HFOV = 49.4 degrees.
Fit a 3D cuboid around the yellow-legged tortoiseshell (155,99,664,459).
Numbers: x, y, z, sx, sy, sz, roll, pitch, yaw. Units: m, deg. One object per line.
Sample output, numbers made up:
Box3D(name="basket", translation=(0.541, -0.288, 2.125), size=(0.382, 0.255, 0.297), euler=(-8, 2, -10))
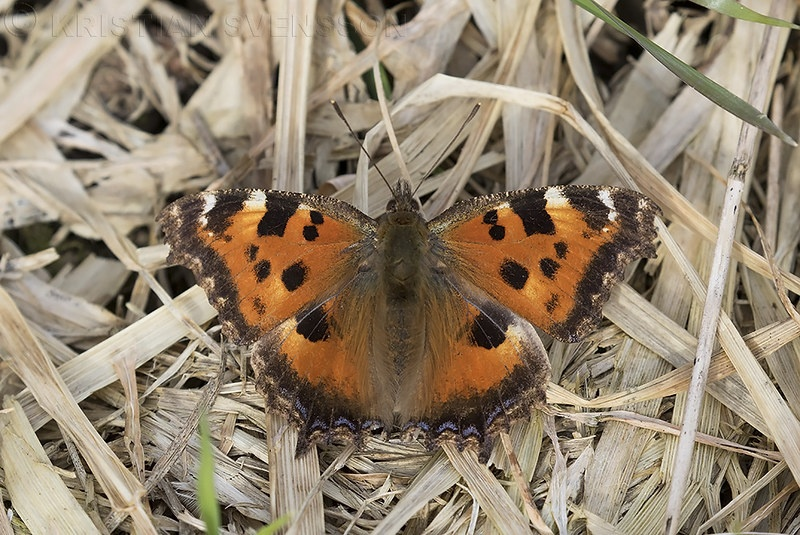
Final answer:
Box3D(name="yellow-legged tortoiseshell", translation=(0.018, 0.140, 2.466), size=(1.383, 0.331, 0.702), euler=(1, 73, -3))
